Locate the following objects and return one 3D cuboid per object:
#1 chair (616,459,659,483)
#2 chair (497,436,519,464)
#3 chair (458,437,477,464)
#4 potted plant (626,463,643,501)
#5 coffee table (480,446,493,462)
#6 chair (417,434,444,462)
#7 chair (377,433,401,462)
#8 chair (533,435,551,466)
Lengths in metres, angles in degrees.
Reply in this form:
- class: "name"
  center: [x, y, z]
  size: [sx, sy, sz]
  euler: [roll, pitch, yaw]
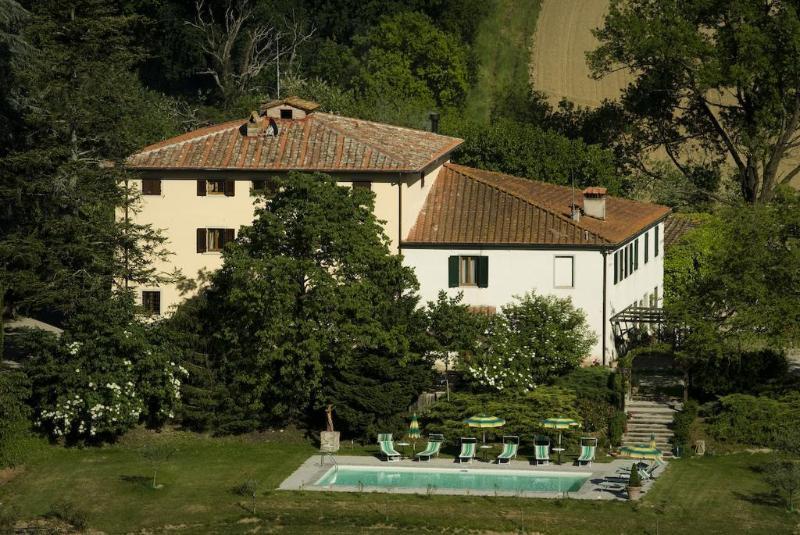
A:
- class: "chair"
  center: [12.839, 10.926, 84.627]
  size: [1.770, 0.672, 1.105]
  euler: [-2, 10, 11]
- class: "chair"
  center: [5.937, 10.033, 86.957]
  size: [1.109, 1.409, 2.131]
  euler: [1, -5, 5]
- class: "chair"
  center: [3.679, 10.091, 86.956]
  size: [0.678, 0.869, 1.456]
  euler: [1, 5, 8]
- class: "potted plant"
  center: [12.139, 11.210, 81.873]
  size: [0.665, 1.810, 1.066]
  euler: [-1, -5, 27]
- class: "coffee table"
  center: [4.747, 10.341, 87.185]
  size: [0.724, 0.739, 0.740]
  euler: [-2, 11, -12]
- class: "chair"
  center: [1.725, 9.995, 86.969]
  size: [0.753, 0.868, 2.115]
  euler: [3, 8, 20]
- class: "chair"
  center: [-0.620, 9.977, 87.268]
  size: [1.179, 1.473, 1.919]
  euler: [2, -5, -3]
- class: "chair"
  center: [7.764, 10.055, 86.580]
  size: [0.867, 1.515, 1.699]
  euler: [1, -5, 5]
